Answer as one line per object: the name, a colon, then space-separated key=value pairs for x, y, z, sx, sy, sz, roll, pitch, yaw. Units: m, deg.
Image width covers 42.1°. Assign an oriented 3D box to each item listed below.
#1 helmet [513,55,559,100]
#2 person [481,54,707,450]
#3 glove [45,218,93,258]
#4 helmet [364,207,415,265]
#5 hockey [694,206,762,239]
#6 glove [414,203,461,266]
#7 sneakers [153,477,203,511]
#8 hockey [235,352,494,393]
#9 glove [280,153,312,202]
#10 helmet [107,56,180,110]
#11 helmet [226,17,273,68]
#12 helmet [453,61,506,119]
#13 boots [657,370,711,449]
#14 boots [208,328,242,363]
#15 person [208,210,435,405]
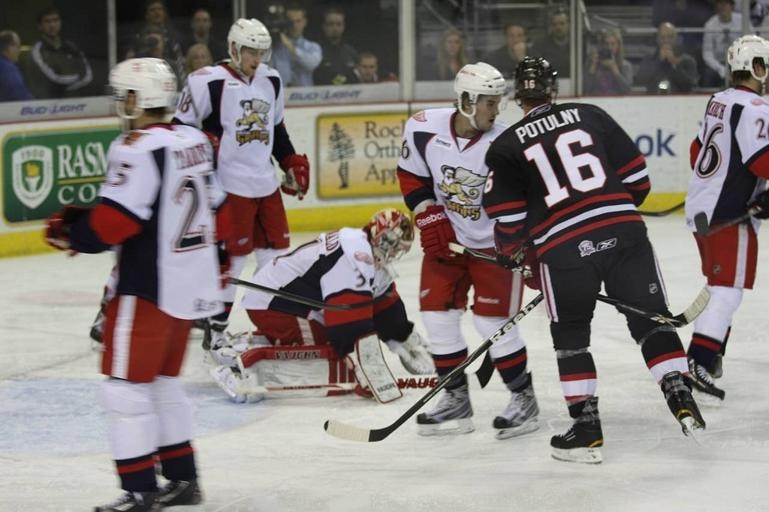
helmet: x=0.742 y=-0.901 z=5.058 sx=0.209 sy=0.220 sz=0.232 roll=4 pitch=16 yaw=13
person: x=0.986 y=0.011 z=4.900 sx=0.997 sy=1.966 sz=0.480 roll=1 pitch=10 yaw=13
glove: x=-1.394 y=-0.078 z=4.305 sx=0.131 sy=0.199 sz=0.233 roll=-5 pitch=10 yaw=-19
helmet: x=0.018 y=-0.105 z=5.821 sx=0.349 sy=0.309 sz=0.260 roll=-9 pitch=-11 yaw=-2
hockey: x=1.873 y=-0.185 z=5.579 sx=0.237 sy=0.083 sz=0.166 roll=-14 pitch=-11 yaw=-2
glove: x=0.264 y=-0.120 z=5.288 sx=0.188 sy=0.288 sz=0.075 roll=-24 pitch=-15 yaw=25
sneakers: x=-0.916 y=1.068 z=4.460 sx=0.153 sy=0.061 sz=0.112 roll=2 pitch=-1 yaw=-33
hockey: x=-0.373 y=0.677 z=5.709 sx=0.839 sy=0.199 sz=0.530 roll=0 pitch=-3 yaw=-2
glove: x=-0.585 y=-0.525 z=6.490 sx=0.124 sy=0.261 sz=0.273 roll=16 pitch=-12 yaw=-9
helmet: x=-1.044 y=-0.766 z=4.401 sx=0.294 sy=0.208 sz=0.206 roll=-5 pitch=14 yaw=1
helmet: x=-0.858 y=-1.354 z=6.277 sx=0.247 sy=0.289 sz=0.259 roll=-3 pitch=10 yaw=-11
helmet: x=0.478 y=-0.886 z=5.311 sx=0.310 sy=0.323 sz=0.263 roll=-2 pitch=10 yaw=20
boots: x=1.399 y=0.711 z=4.842 sx=0.154 sy=0.439 sz=0.171 roll=-31 pitch=-33 yaw=16
boots: x=-1.003 y=0.572 z=6.164 sx=0.185 sy=0.093 sz=0.242 roll=19 pitch=18 yaw=-13
person: x=-0.358 y=0.243 z=5.788 sx=1.417 sy=0.962 sz=0.997 roll=-2 pitch=5 yaw=-6
